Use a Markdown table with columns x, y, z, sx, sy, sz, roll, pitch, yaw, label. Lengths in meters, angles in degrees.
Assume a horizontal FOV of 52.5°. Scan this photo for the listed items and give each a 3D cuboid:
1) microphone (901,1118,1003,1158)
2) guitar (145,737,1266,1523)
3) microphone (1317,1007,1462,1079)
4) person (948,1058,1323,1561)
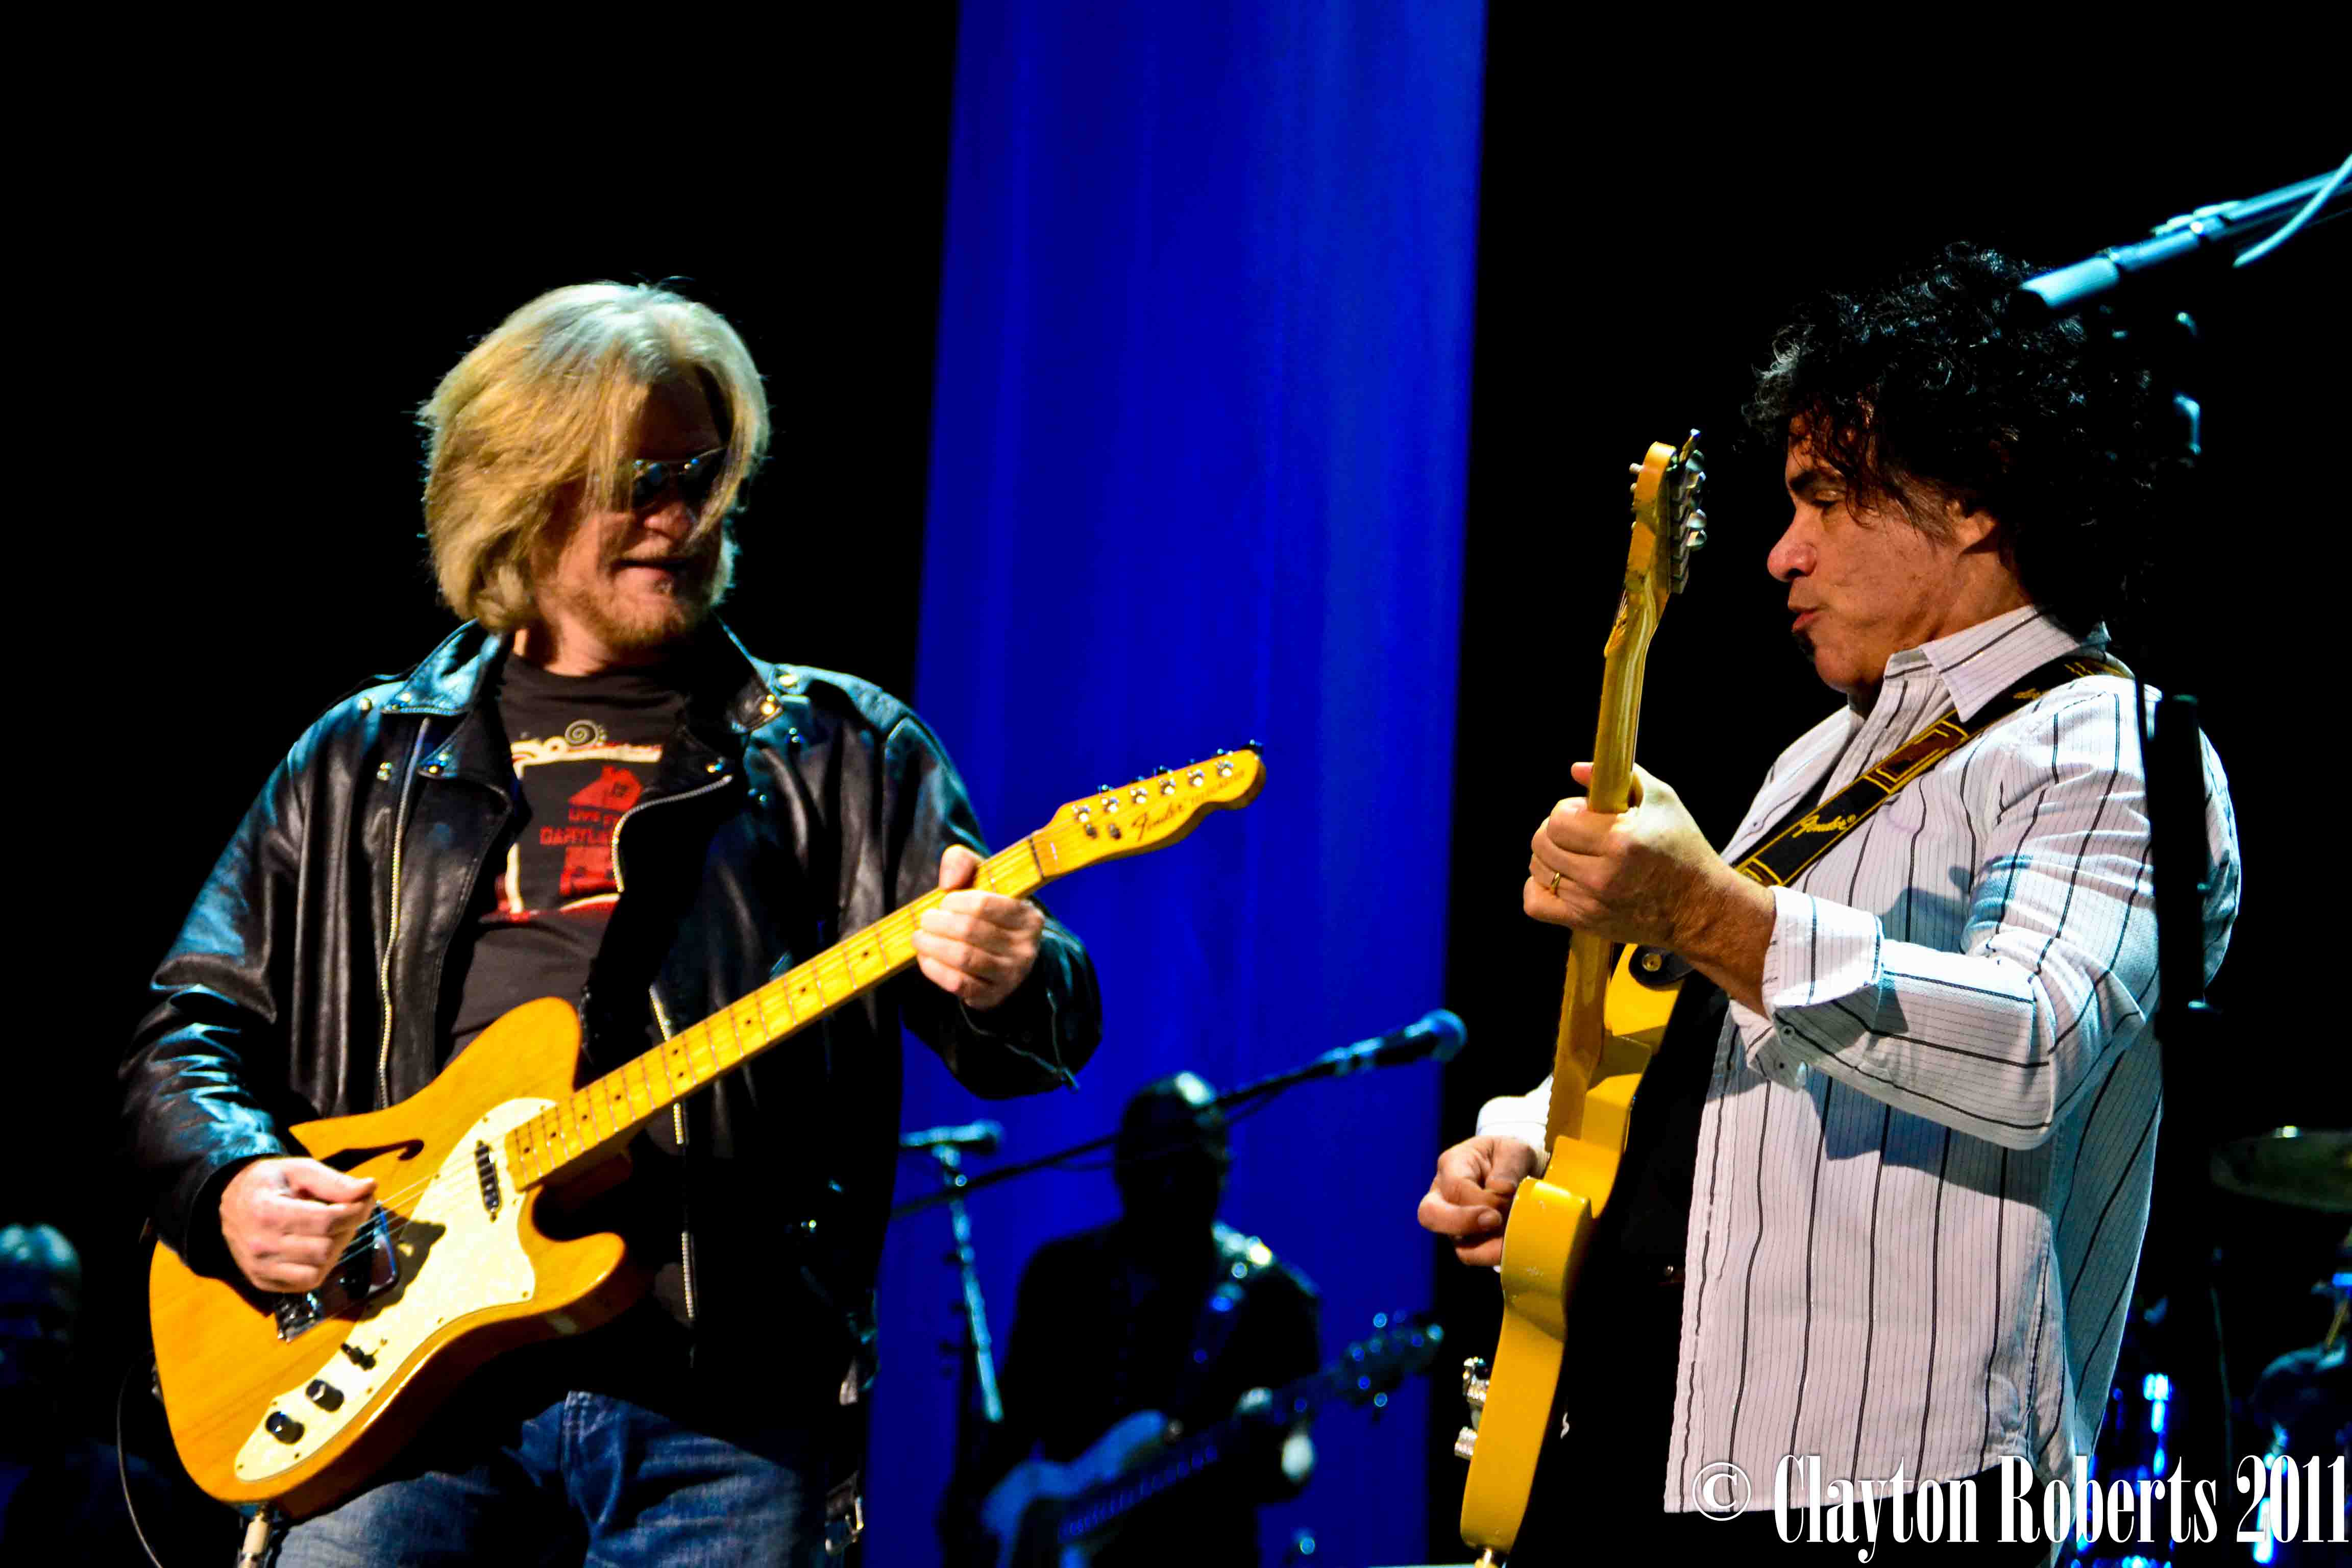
| x | y | z | sx | sy | sz | roll | pitch | yaw | label |
| --- | --- | --- | --- | --- | --- | --- | --- | --- | --- |
| -0.457 | 0.756 | 5.020 | 0.224 | 0.080 | 0.060 | -10 | -52 | 18 | microphone |
| -0.810 | 0.612 | 4.179 | 1.723 | 0.601 | 0.193 | -27 | -36 | 1 | guitar |
| 0.394 | 0.518 | 4.686 | 0.362 | 0.103 | 0.105 | -10 | -13 | -19 | microphone |
| -0.050 | 1.123 | 4.824 | 0.576 | 1.144 | 0.166 | 5 | -2 | 18 | person |
